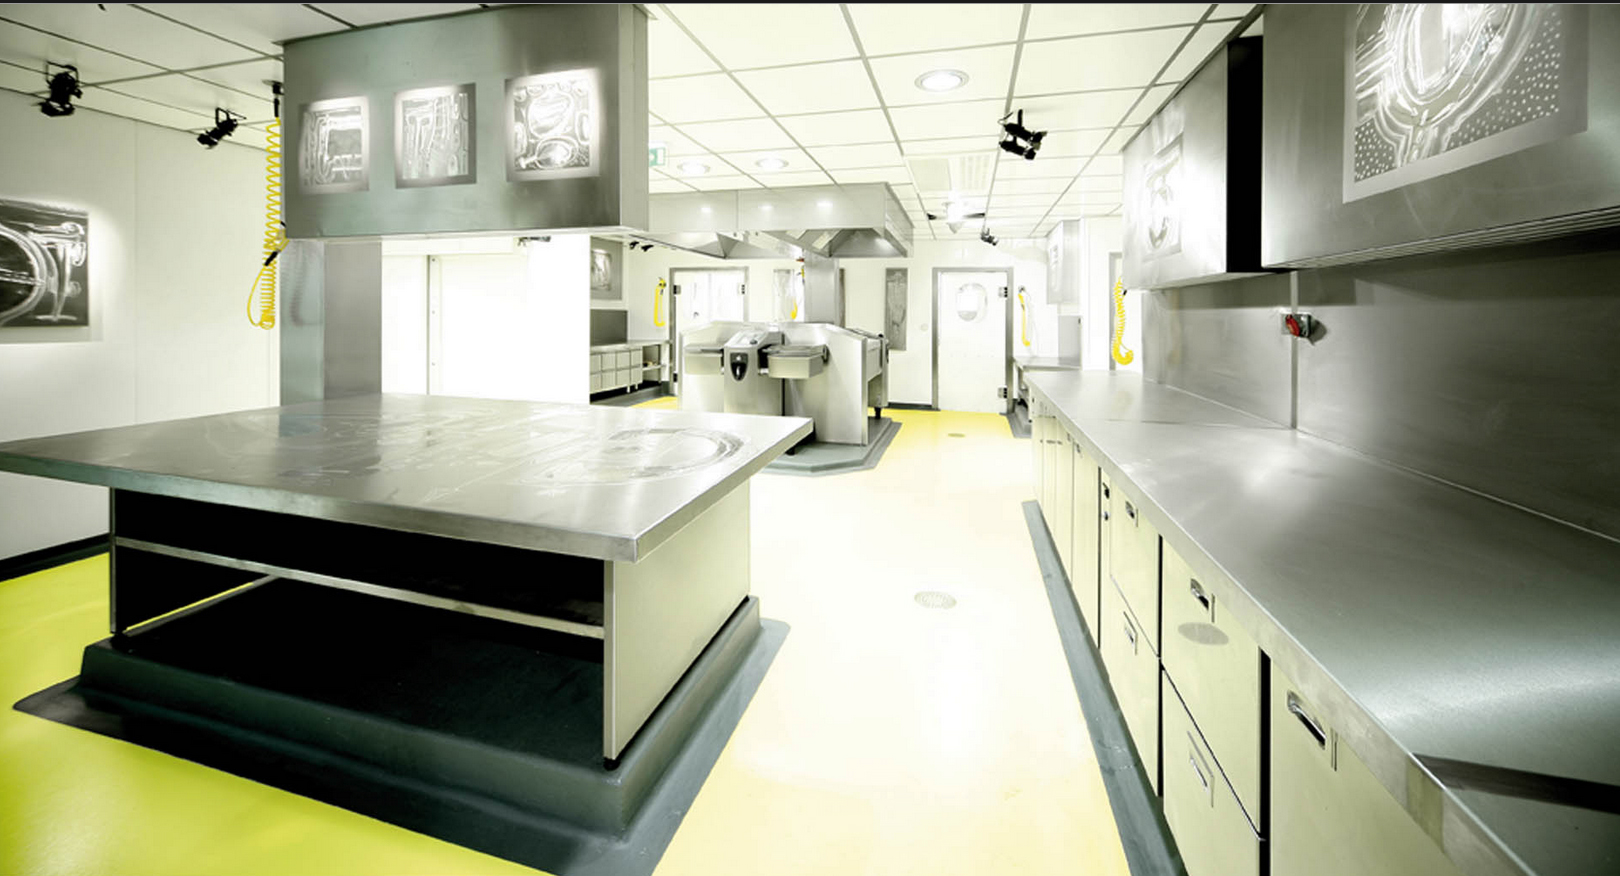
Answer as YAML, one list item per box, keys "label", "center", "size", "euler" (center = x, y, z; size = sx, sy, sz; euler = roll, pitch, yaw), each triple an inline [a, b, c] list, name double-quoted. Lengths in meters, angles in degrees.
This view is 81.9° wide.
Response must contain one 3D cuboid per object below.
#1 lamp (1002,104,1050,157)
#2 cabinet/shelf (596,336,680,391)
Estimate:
- label: "lamp"
  center: [1.472, -2.166, 6.550]
  size: [0.250, 0.283, 0.464]
  euler: [5, 11, 9]
- label: "cabinet/shelf"
  center: [-2.443, -1.075, 13.320]
  size: [0.453, 0.781, 2.567]
  euler: [4, 11, 6]
